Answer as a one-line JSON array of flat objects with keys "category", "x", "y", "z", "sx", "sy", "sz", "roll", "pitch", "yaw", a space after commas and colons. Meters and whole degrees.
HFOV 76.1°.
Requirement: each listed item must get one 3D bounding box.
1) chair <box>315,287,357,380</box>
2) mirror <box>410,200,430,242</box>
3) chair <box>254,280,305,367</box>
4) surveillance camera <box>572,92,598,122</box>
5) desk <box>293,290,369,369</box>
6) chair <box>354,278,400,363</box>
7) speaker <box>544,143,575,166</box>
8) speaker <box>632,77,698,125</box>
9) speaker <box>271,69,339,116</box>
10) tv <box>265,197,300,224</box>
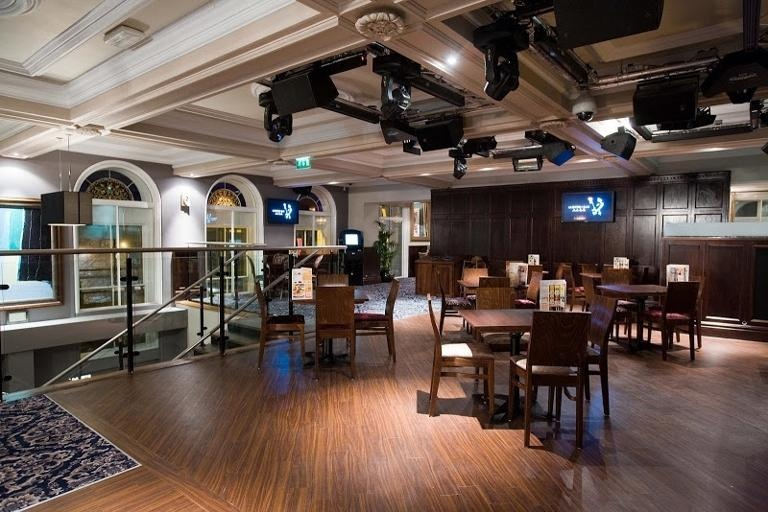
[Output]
[{"category": "chair", "x": -0.689, "y": 1.051, "z": 6.835, "sx": 0.563, "sy": 1.256, "sz": 0.300, "roll": -2, "pitch": 0, "yaw": -10}, {"category": "mirror", "x": 1.182, "y": -1.148, "z": 16.598, "sx": 0.721, "sy": 1.355, "sz": 0.250, "roll": -2, "pitch": 0, "yaw": -23}, {"category": "chair", "x": -1.563, "y": 0.976, "z": 7.471, "sx": 0.838, "sy": 1.146, "sz": 0.824, "roll": -2, "pitch": 2, "yaw": -34}, {"category": "surveillance camera", "x": 2.759, "y": -2.044, "z": 6.781, "sx": 0.316, "sy": 0.525, "sz": 0.338, "roll": 0, "pitch": 1, "yaw": 32}, {"category": "desk", "x": -0.670, "y": 0.956, "z": 7.089, "sx": 0.605, "sy": 1.094, "sz": 0.672, "roll": 0, "pitch": 4, "yaw": 4}, {"category": "chair", "x": -0.178, "y": 0.999, "z": 7.693, "sx": 0.840, "sy": 1.248, "sz": 0.779, "roll": 0, "pitch": 0, "yaw": 6}, {"category": "speaker", "x": 3.030, "y": -1.774, "z": 8.543, "sx": 0.410, "sy": 0.276, "sz": 0.381, "roll": -11, "pitch": 9, "yaw": -39}, {"category": "speaker", "x": 3.702, "y": -2.024, "z": 6.314, "sx": 0.423, "sy": 0.550, "sz": 0.778, "roll": -29, "pitch": 25, "yaw": -25}, {"category": "speaker", "x": -0.980, "y": -2.069, "z": 6.272, "sx": 0.665, "sy": 0.474, "sz": 0.512, "roll": 2, "pitch": 42, "yaw": 34}, {"category": "tv", "x": -3.002, "y": -1.297, "z": 14.362, "sx": 0.239, "sy": 0.750, "sz": 1.106, "roll": -2, "pitch": 0, "yaw": 35}]
